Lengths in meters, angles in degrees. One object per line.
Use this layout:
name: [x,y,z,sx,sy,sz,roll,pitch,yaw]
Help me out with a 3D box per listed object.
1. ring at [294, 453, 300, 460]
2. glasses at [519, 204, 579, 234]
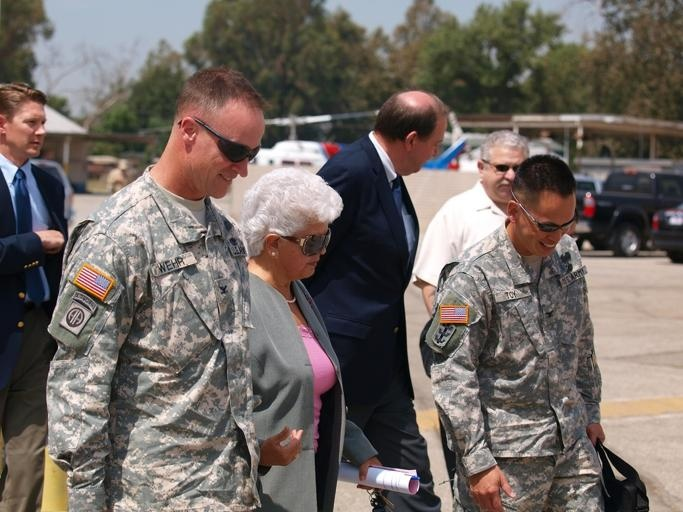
ring: [-0.235,1.039,6.537,0.025,0.032,0.034,-4,-8,7]
glasses: [1.099,-0.213,6.841,0.280,0.164,0.079,1,-2,6]
